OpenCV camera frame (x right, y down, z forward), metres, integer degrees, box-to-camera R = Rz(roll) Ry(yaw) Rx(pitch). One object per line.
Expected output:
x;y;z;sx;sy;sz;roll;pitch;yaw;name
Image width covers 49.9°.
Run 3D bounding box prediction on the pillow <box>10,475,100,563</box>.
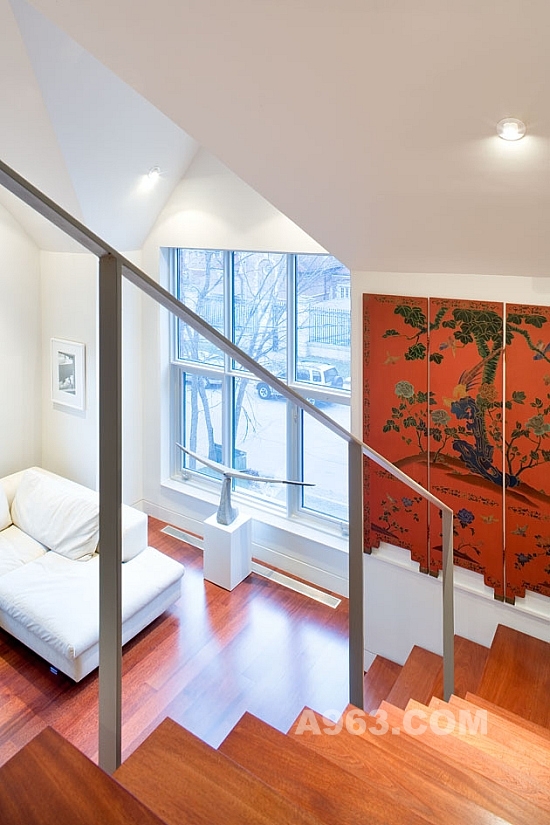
-1.474;0.735;3.962;0.791;0.283;0.409;23;38;33;pillow
